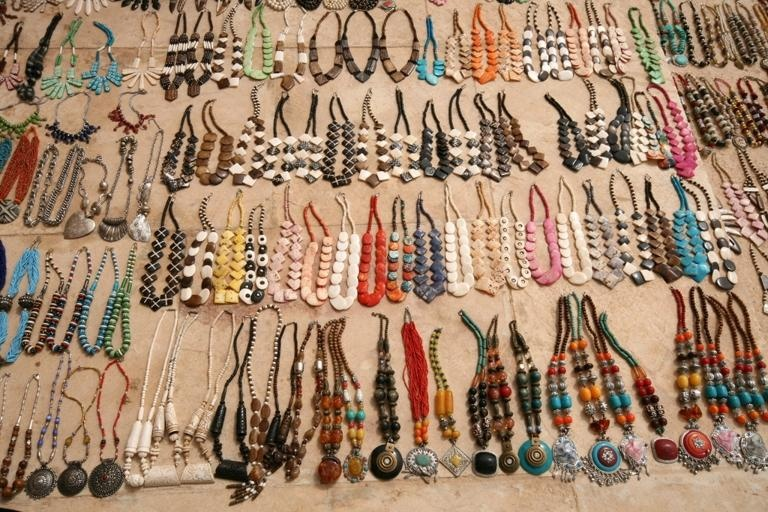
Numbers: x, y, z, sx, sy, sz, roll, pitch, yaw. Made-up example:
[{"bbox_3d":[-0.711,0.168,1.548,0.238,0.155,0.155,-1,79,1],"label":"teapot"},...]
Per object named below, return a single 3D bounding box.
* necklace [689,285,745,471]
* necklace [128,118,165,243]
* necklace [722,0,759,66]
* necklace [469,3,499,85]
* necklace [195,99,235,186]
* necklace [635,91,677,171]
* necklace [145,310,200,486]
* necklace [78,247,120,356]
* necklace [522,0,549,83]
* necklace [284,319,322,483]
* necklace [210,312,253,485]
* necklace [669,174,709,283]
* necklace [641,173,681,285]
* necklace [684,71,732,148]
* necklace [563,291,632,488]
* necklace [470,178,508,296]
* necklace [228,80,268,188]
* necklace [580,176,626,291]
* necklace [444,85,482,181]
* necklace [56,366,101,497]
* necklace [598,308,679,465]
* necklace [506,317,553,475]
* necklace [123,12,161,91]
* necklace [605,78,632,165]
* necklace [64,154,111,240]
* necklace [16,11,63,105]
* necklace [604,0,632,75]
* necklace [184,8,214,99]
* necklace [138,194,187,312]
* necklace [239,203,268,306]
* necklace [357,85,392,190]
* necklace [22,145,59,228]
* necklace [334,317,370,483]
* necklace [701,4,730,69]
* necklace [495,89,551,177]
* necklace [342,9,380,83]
[{"bbox_3d":[2.002,0.740,4.737,0.168,0.096,1.004,-8,72,11],"label":"necklace"},{"bbox_3d":[-1.519,-0.475,5.009,0.118,0.074,0.726,9,72,-7],"label":"necklace"},{"bbox_3d":[2.639,-1.643,5.788,0.168,0.077,0.519,-8,71,4],"label":"necklace"},{"bbox_3d":[0.702,-1.515,5.550,0.133,0.061,0.617,0,64,3],"label":"necklace"},{"bbox_3d":[-1.118,-0.765,5.188,0.253,0.435,0.457,-4,25,-7],"label":"necklace"},{"bbox_3d":[1.844,-0.868,5.351,0.166,0.027,0.574,5,53,3],"label":"necklace"},{"bbox_3d":[-1.274,0.908,4.652,0.203,0.062,0.804,6,71,-11],"label":"necklace"},{"bbox_3d":[-1.757,0.278,4.866,0.192,0.078,0.925,10,46,-20],"label":"necklace"},{"bbox_3d":[1.072,-1.530,5.559,0.129,0.071,0.619,-3,61,10],"label":"necklace"},{"bbox_3d":[-0.468,0.872,4.637,0.161,0.080,0.873,16,63,-28],"label":"necklace"},{"bbox_3d":[-0.901,0.849,4.628,0.240,0.682,0.606,-1,24,0],"label":"necklace"},{"bbox_3d":[1.945,-0.179,5.033,0.131,0.052,0.702,-7,59,8],"label":"necklace"},{"bbox_3d":[1.731,-0.267,4.987,0.171,0.837,0.039,19,73,34],"label":"necklace"},{"bbox_3d":[2.239,-0.983,5.422,0.166,0.133,0.630,0,64,6],"label":"necklace"},{"bbox_3d":[1.231,0.755,4.583,0.280,0.106,1.035,-8,70,2],"label":"necklace"},{"bbox_3d":[0.661,-0.089,4.955,0.166,0.061,0.657,1,68,6],"label":"necklace"},{"bbox_3d":[-0.890,-0.825,5.138,0.151,0.060,0.657,-2,66,3],"label":"necklace"},{"bbox_3d":[1.374,-0.178,4.934,0.171,0.053,0.621,-9,72,-11],"label":"necklace"},{"bbox_3d":[0.517,-0.830,5.150,0.216,0.782,0.053,8,47,16],"label":"necklace"},{"bbox_3d":[-1.872,1.096,4.692,0.217,0.064,0.821,5,31,-22],"label":"necklace"},{"bbox_3d":[1.530,0.721,4.789,0.133,0.219,1.037,-12,73,-30],"label":"necklace"},{"bbox_3d":[0.849,0.827,4.585,0.181,0.102,0.793,-6,72,3],"label":"necklace"},{"bbox_3d":[-1.663,-1.429,5.488,0.203,0.044,0.599,1,66,-5],"label":"necklace"},{"bbox_3d":[1.630,-0.982,5.417,0.169,0.093,0.873,1,53,19],"label":"necklace"},{"bbox_3d":[-1.907,-0.385,5.035,0.250,0.403,0.404,0,25,3],"label":"necklace"},{"bbox_3d":[-2.378,-1.395,5.417,0.130,0.145,0.677,11,77,-10],"label":"necklace"},{"bbox_3d":[1.677,-1.585,5.620,0.121,0.049,0.567,7,57,-13],"label":"necklace"},{"bbox_3d":[-1.277,-1.453,5.459,0.173,0.063,0.788,3,64,-5],"label":"necklace"},{"bbox_3d":[-1.378,-0.020,4.867,0.174,0.036,0.695,-1,66,2],"label":"necklace"},{"bbox_3d":[-0.802,0.003,4.948,0.141,0.074,0.566,-1,67,-1],"label":"necklace"},{"bbox_3d":[-0.080,-0.767,5.198,0.165,0.065,0.603,-6,72,3],"label":"necklace"},{"bbox_3d":[-2.218,-0.472,5.092,0.115,0.079,0.577,11,72,-6],"label":"necklace"},{"bbox_3d":[-0.256,0.811,4.814,0.224,0.191,1.296,0,40,-6],"label":"necklace"},{"bbox_3d":[2.437,-1.624,5.735,0.120,0.062,0.516,-2,72,10],"label":"necklace"},{"bbox_3d":[0.897,-0.809,5.297,0.191,0.051,0.628,-8,73,-2],"label":"necklace"},{"bbox_3d":[-0.151,-1.482,5.368,0.257,0.731,0.076,-2,66,4],"label":"necklace"}]
